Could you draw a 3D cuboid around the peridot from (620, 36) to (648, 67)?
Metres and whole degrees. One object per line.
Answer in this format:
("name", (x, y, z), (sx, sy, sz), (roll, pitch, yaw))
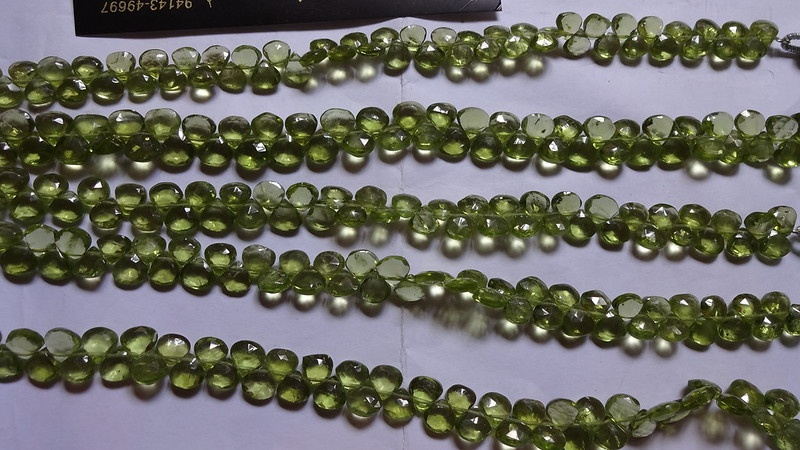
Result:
("peridot", (0.577, -0.435, 2.535), (0.067, 0.046, 0.063), (-37, -67, -7))

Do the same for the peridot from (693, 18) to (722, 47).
("peridot", (0.760, -0.481, 2.526), (0.059, 0.033, 0.062), (10, -92, -1))

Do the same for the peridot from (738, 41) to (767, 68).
("peridot", (0.868, -0.423, 2.522), (0.057, 0.038, 0.069), (8, -61, -21))

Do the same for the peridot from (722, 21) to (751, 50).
("peridot", (0.829, -0.474, 2.523), (0.054, 0.067, 0.036), (-1, -20, 8))

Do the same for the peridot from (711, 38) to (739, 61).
("peridot", (0.804, -0.436, 2.522), (0.061, 0.025, 0.044), (1, -63, 0))

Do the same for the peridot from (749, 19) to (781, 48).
("peridot", (0.905, -0.476, 2.527), (0.070, 0.047, 0.050), (29, -66, -13))

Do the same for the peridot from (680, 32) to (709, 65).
("peridot", (0.729, -0.433, 2.525), (0.068, 0.026, 0.066), (-1, -63, 1))

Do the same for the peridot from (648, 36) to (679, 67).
("peridot", (0.652, -0.432, 2.526), (0.066, 0.024, 0.073), (-2, -63, 1))
